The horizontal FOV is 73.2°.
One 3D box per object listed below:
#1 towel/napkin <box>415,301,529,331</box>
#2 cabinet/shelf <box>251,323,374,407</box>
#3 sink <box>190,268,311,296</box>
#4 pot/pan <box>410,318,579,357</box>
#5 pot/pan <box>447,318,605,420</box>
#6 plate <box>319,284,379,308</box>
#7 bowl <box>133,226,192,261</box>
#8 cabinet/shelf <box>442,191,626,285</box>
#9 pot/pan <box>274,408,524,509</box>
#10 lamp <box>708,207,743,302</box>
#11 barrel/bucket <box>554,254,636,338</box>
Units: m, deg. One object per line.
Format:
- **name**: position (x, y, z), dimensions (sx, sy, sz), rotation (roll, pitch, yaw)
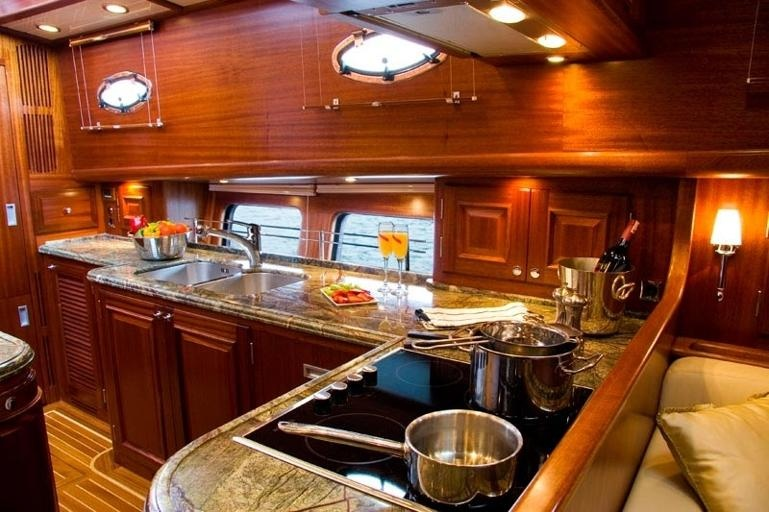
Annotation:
- **towel/napkin**: position (0.395, 0.269, 2.344), dimensions (0.336, 0.028, 0.178), rotation (-3, 11, -11)
- **cabinet/shelf**: position (-0.290, 0.444, 2.192), dimensions (0.480, 0.351, 0.267), rotation (7, 11, 38)
- **sink**: position (-0.893, 0.182, 3.248), dimensions (0.321, 0.113, 0.298), rotation (7, 18, 32)
- **pot/pan**: position (0.401, 0.280, 1.725), dimensions (0.366, 0.037, 0.196), rotation (-4, 5, -12)
- **pot/pan**: position (0.436, 0.363, 1.675), dimensions (0.384, 0.155, 0.396), rotation (-11, 14, -42)
- **plate**: position (-0.186, 0.196, 2.698), dimensions (0.267, 0.076, 0.279), rotation (0, 8, -10)
- **bowl**: position (-1.527, -0.106, 3.586), dimensions (0.400, 0.210, 0.338), rotation (-1, 11, 8)
- **cabinet/shelf**: position (0.824, -0.102, 2.640), dimensions (0.378, 0.534, 1.035), rotation (-14, 17, -41)
- **pot/pan**: position (0.106, 0.562, 1.485), dimensions (0.543, 0.081, 0.216), rotation (2, 11, 22)
- **lamp**: position (1.449, -0.002, 2.227), dimensions (0.123, 0.379, 0.118), rotation (3, 0, 36)
- **barrel/bucket**: position (0.857, 0.143, 2.257), dimensions (0.386, 0.255, 0.415), rotation (0, 6, 0)
